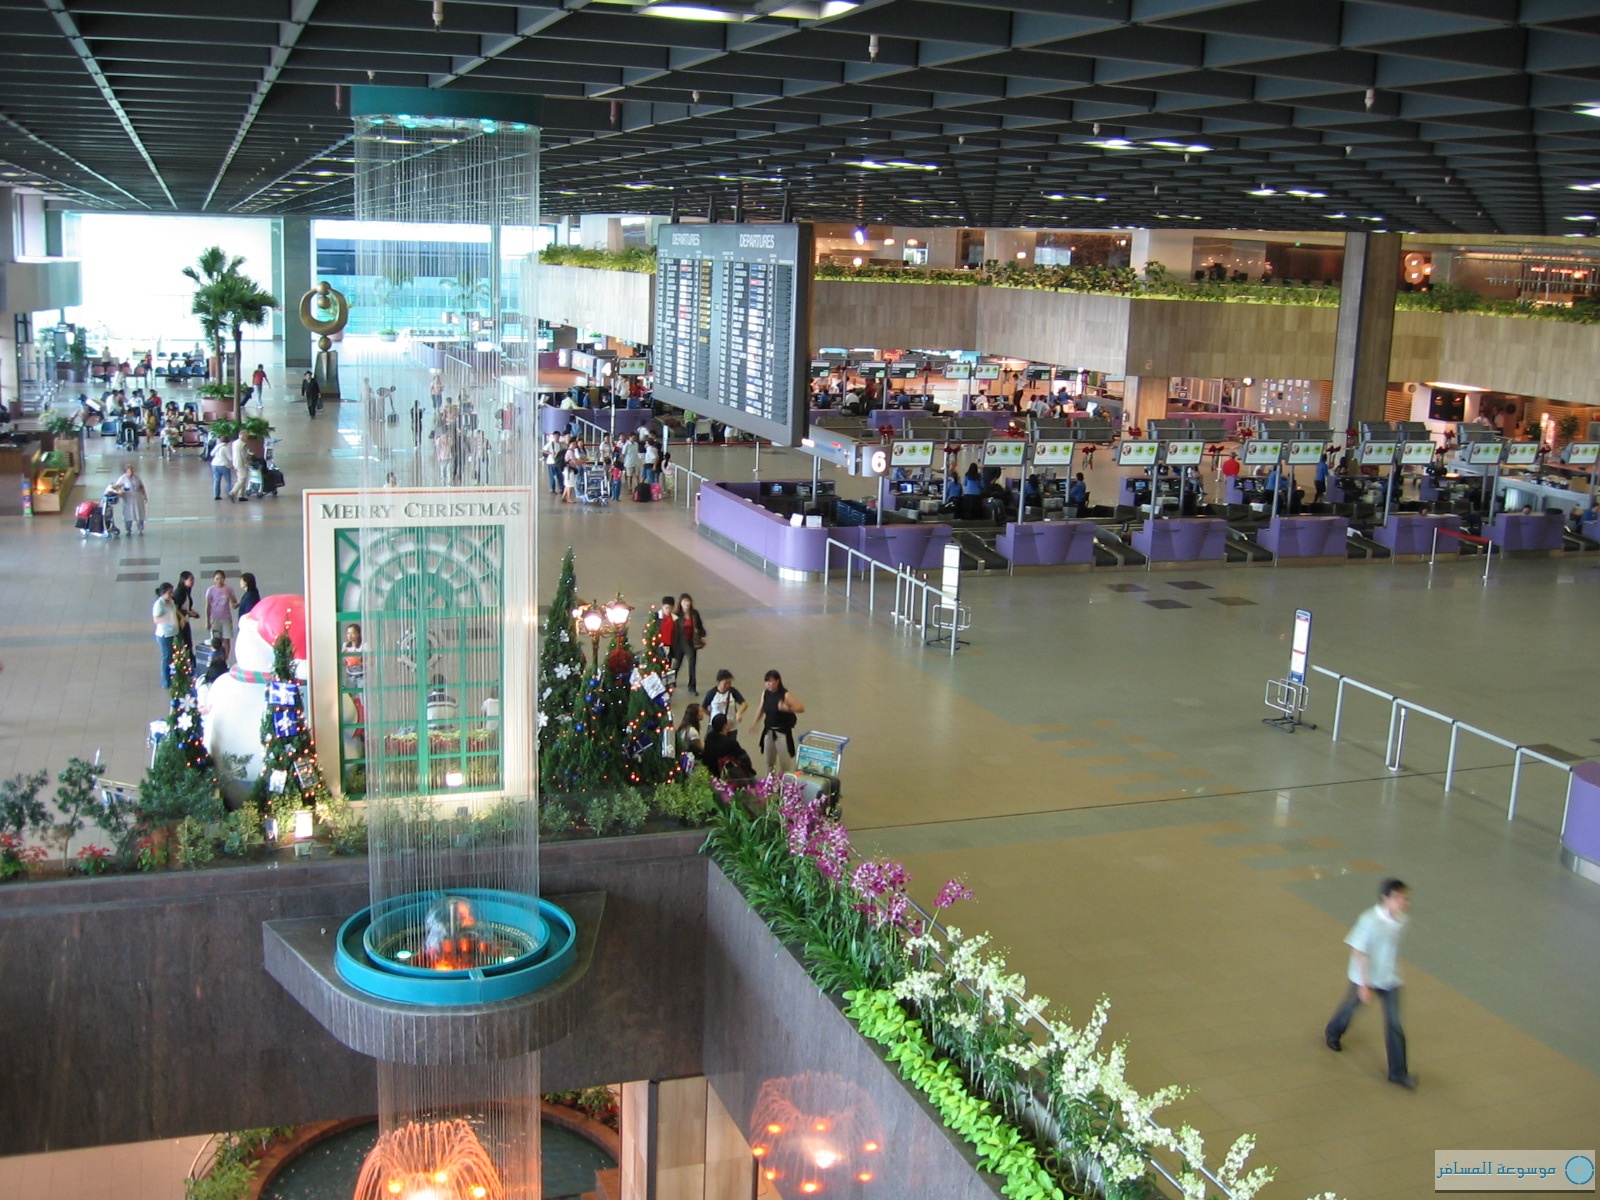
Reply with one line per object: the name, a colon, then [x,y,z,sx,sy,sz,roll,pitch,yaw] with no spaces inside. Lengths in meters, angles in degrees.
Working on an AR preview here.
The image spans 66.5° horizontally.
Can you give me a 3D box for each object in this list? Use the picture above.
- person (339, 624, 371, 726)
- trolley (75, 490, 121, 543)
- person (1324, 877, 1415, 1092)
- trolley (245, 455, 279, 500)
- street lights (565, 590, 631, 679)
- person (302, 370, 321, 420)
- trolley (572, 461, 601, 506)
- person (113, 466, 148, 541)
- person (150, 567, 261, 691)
person: [-3.266,0.549,8.984,0.163,0.768,0.088,2,15,1]
trolley: [-12.083,-1.478,21.126,0.683,0.799,0.834,-6,17,-30]
person: [3.943,2.375,8.255,0.551,1.346,1.152,9,16,26]
trolley: [-10.839,-2.473,24.842,0.631,0.874,0.624,-7,17,-31]
street lights: [-1.980,0.359,12.043,0.371,1.191,0.679,9,17,24]
person: [-14.648,-6.094,36.845,0.322,1.273,1.873,-5,16,-25]
trolley: [-4.589,-2.507,26.785,0.744,1.405,0.755,0,1,-10]
person: [-11.653,-1.744,21.351,0.410,1.198,1.384,-6,17,-30]
person: [-6.308,0.332,12.972,1.047,1.428,0.546,1,2,26]
